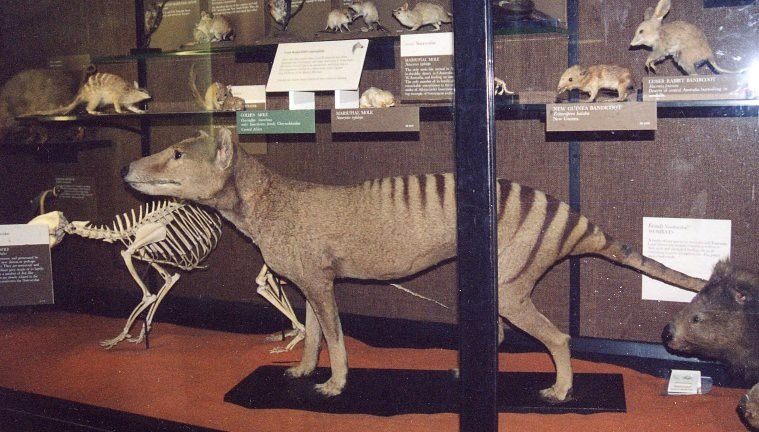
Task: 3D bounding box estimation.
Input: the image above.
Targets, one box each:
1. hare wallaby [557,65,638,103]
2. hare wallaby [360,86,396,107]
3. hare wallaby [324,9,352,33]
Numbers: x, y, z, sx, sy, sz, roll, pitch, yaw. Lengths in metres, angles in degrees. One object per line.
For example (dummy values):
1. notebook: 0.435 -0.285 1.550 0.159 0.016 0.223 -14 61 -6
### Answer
1. hare wallaby: 1.187 -0.741 3.940 0.407 0.190 0.106 2 15 13
2. hare wallaby: -0.014 -0.666 4.031 0.162 0.094 0.116 -1 27 2
3. hare wallaby: -0.229 -1.117 4.092 0.155 0.110 0.089 9 39 9
